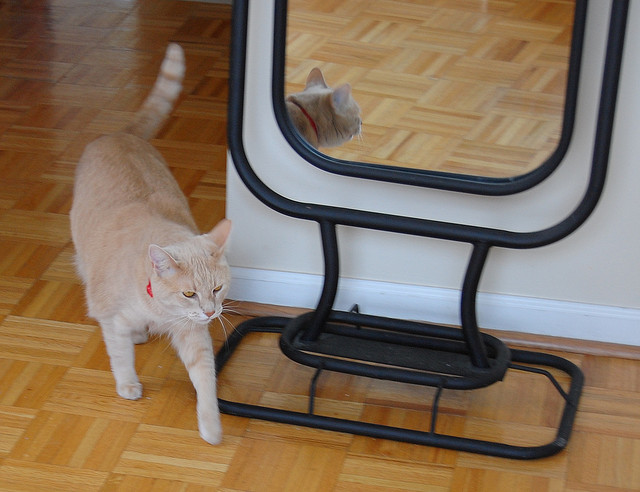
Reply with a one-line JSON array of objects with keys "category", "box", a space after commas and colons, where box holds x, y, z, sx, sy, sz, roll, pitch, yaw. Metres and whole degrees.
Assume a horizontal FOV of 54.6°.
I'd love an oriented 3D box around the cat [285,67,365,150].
[{"category": "cat", "box": [-0.020, -0.345, 1.630, 0.284, 0.141, 0.127, 4, 41, -1]}]
